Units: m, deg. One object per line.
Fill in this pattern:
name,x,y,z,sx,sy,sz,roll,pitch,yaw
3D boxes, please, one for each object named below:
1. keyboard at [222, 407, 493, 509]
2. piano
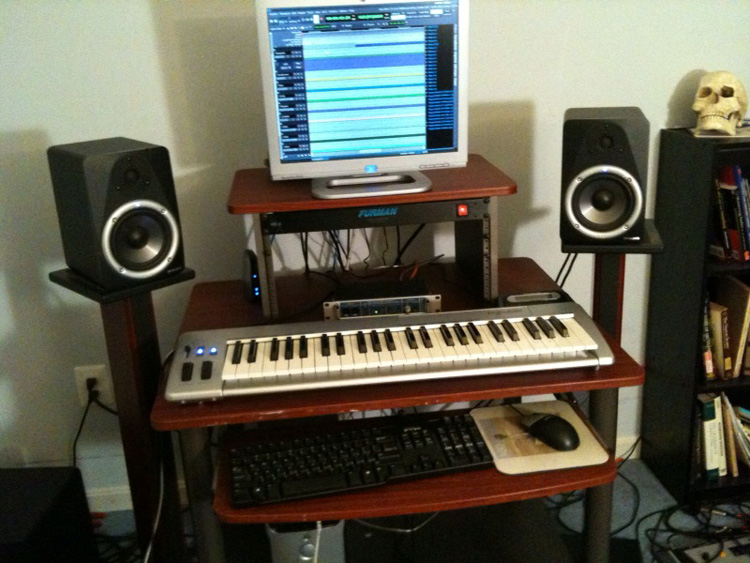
keyboard,-0.049,0.441,1.771,0.657,0.090,0.289,-6,16,-10
piano,0.034,0.178,1.741,1.129,0.121,0.235,-3,16,-3
